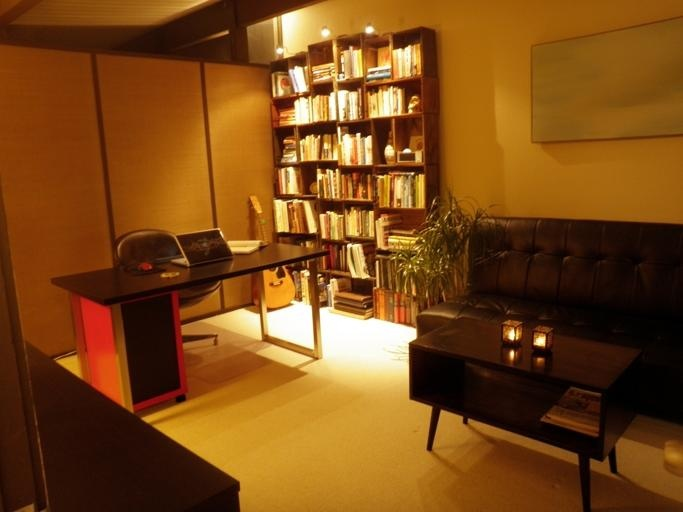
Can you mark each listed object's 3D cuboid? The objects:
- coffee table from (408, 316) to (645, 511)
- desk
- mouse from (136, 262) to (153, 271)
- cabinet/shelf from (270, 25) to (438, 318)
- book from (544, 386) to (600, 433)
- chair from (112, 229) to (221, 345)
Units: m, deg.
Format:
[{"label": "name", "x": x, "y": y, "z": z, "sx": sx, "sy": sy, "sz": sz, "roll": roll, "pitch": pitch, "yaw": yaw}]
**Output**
[{"label": "coffee table", "x": 1.026, "y": 0.686, "z": 2.860, "sx": 1.307, "sy": 0.870, "sz": 0.740, "roll": 11, "pitch": 21, "yaw": 40}, {"label": "desk", "x": -1.045, "y": 0.504, "z": 4.055, "sx": 0.884, "sy": 0.935, "sz": 1.740, "roll": 8, "pitch": 16, "yaw": 43}, {"label": "mouse", "x": -1.387, "y": 0.076, "z": 3.737, "sx": 0.080, "sy": 0.037, "sz": 0.107, "roll": -8, "pitch": 14, "yaw": -39}, {"label": "cabinet/shelf", "x": 0.089, "y": -0.828, "z": 5.365, "sx": 0.649, "sy": 2.699, "sz": 1.985, "roll": -15, "pitch": 18, "yaw": -41}, {"label": "book", "x": 1.167, "y": 0.786, "z": 2.652, "sx": 0.253, "sy": 0.061, "sz": 0.248, "roll": 7, "pitch": 28, "yaw": 45}, {"label": "chair", "x": -1.468, "y": 0.237, "z": 4.583, "sx": 0.861, "sy": 1.098, "sz": 0.917, "roll": 7, "pitch": 12, "yaw": 38}]
